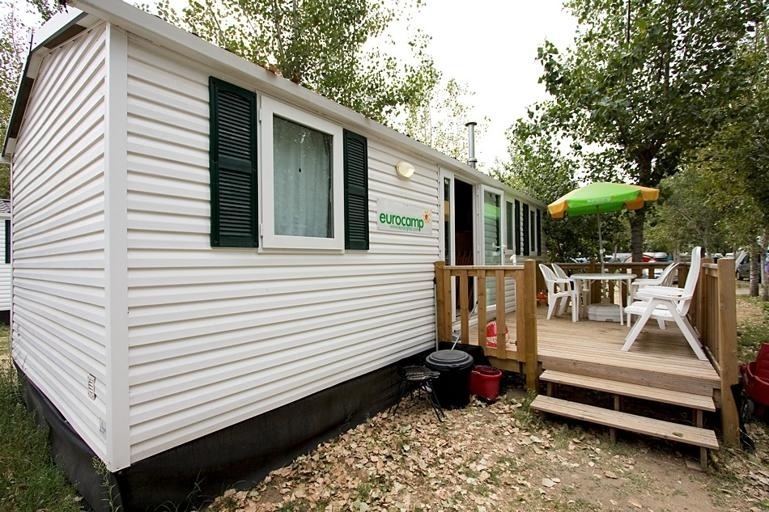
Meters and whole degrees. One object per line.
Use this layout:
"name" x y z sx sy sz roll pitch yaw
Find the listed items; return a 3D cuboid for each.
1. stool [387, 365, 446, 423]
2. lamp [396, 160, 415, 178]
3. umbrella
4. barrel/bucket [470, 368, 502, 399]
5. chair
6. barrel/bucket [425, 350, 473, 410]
"stool" 0.491 1.961 8.392 0.726 1.023 0.723 1 9 -5
"lamp" 0.373 -1.457 8.915 0.433 0.291 0.137 -2 3 -40
"umbrella" 4.207 -0.544 10.140 1.788 1.643 1.844 -5 -7 5
"barrel/bucket" 1.661 2.074 8.688 0.411 0.486 0.552 -4 8 -30
"chair" 4.684 0.669 9.215 1.679 2.372 1.726 0 -1 22
"barrel/bucket" 1.123 2.004 8.614 0.780 0.733 0.821 -5 -19 -2
